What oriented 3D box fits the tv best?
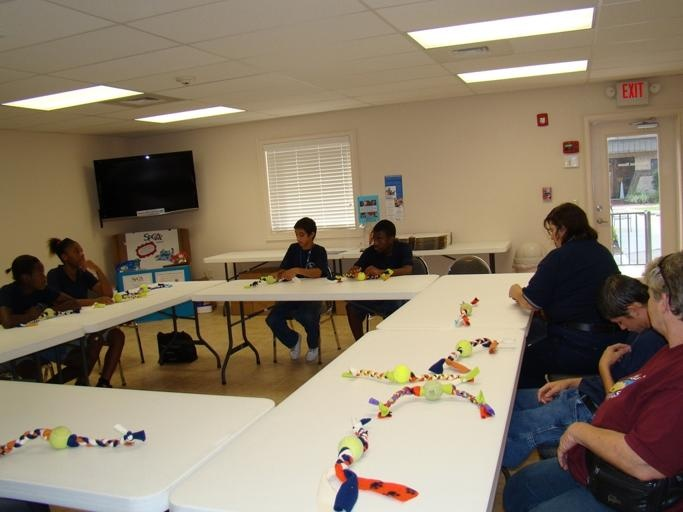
[{"bbox_3d":[-2.897,-1.074,7.295,1.367,0.871,0.113,-7,11,-14],"label":"tv"}]

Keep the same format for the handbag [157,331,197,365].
[{"bbox_3d":[-1.776,0.992,5.357,0.409,0.383,0.375,0,-3,0],"label":"handbag"}]

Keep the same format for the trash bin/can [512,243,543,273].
[{"bbox_3d":[2.275,0.020,6.206,0.375,0.437,0.427,0,2,5],"label":"trash bin/can"}]

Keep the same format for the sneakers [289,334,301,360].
[{"bbox_3d":[-0.458,0.952,5.071,0.085,0.252,0.105,1,-8,42],"label":"sneakers"}]

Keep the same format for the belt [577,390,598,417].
[{"bbox_3d":[1.065,0.646,2.118,0.044,0.028,0.078,1,36,-17],"label":"belt"}]
